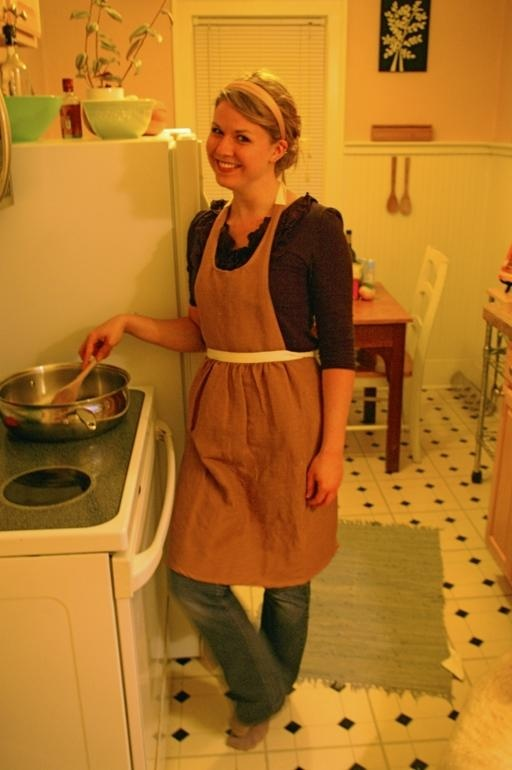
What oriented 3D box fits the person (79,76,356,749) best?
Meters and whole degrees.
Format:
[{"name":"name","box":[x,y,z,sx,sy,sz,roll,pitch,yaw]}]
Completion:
[{"name":"person","box":[-0.076,0.097,1.282,0.560,1.357,0.328,3,4,15]}]

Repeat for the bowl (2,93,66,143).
[{"name":"bowl","box":[-0.458,-0.555,1.225,0.104,0.097,0.191,-5,22,-17]}]

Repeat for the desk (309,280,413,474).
[{"name":"desk","box":[0.577,-0.007,3.200,0.489,0.746,0.760,3,8,15]}]
